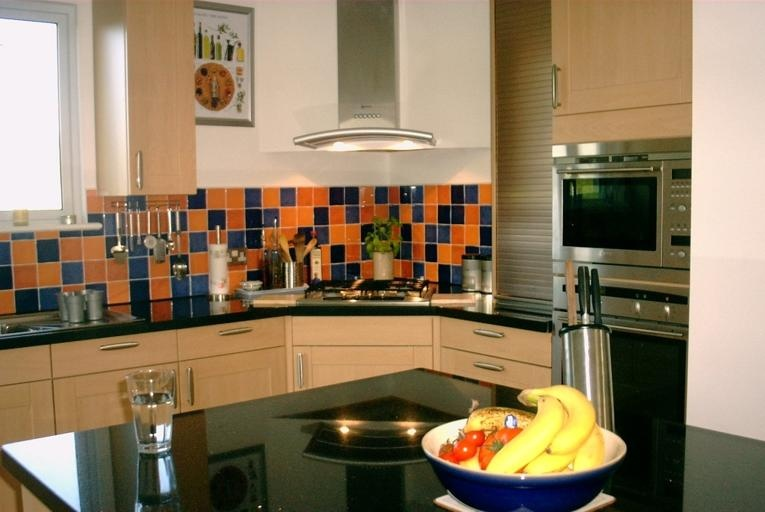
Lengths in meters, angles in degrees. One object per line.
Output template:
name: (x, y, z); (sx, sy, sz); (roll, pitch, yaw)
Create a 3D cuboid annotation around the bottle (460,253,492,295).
bottle: (0.590, 0.107, 3.779); (0.261, 0.224, 0.122); (6, 12, 41)

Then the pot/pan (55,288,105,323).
pot/pan: (-1.520, 0.256, 3.085); (0.139, 0.116, 0.193); (1, 4, 38)

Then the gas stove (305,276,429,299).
gas stove: (-0.083, 0.205, 3.728); (0.777, 0.035, 0.583); (-1, 9, 0)

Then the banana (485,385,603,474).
banana: (0.348, 0.367, 1.280); (0.210, 0.052, 0.159); (-39, 38, -26)

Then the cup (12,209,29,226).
cup: (-1.893, -0.197, 3.190); (0.085, 0.088, 0.082); (2, 5, 0)

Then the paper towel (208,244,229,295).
paper towel: (-0.999, 0.079, 3.669); (0.124, 0.306, 0.143); (-3, 9, -8)

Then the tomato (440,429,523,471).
tomato: (0.216, 0.417, 1.329); (0.155, 0.053, 0.080); (-5, 31, 4)

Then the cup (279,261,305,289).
cup: (-0.549, 0.129, 3.866); (0.170, 0.178, 0.161); (-2, -22, -1)

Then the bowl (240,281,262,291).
bowl: (-0.817, 0.179, 3.803); (0.133, 0.056, 0.223); (-3, 9, -12)

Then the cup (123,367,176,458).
cup: (-0.629, 0.408, 1.675); (0.116, 0.218, 0.157); (-6, 10, -24)

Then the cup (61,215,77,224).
cup: (-1.712, -0.196, 3.326); (0.056, 0.038, 0.054); (1, 0, 0)

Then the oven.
oven: (1.057, 0.207, 3.119); (0.887, 1.480, 0.605); (3, 1, -21)

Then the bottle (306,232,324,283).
bottle: (-0.456, 0.009, 4.060); (0.093, 0.322, 0.205); (-3, 9, -4)

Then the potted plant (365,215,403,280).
potted plant: (0.007, -0.065, 4.230); (0.240, 0.407, 0.400); (-2, 9, 2)
